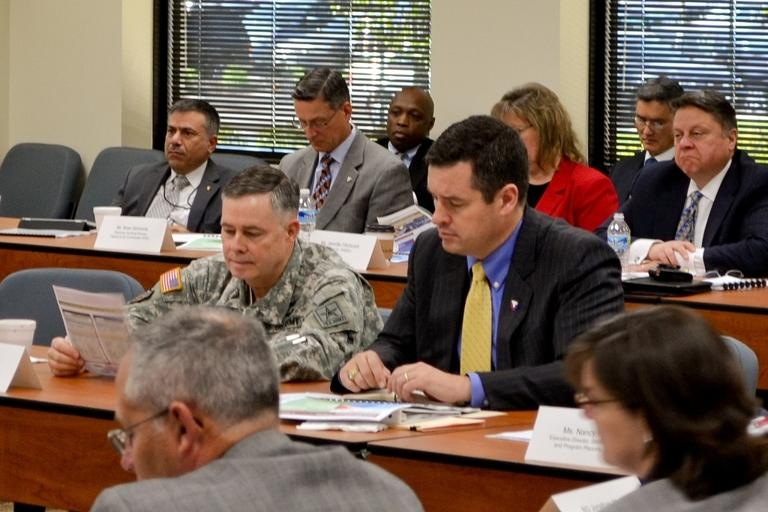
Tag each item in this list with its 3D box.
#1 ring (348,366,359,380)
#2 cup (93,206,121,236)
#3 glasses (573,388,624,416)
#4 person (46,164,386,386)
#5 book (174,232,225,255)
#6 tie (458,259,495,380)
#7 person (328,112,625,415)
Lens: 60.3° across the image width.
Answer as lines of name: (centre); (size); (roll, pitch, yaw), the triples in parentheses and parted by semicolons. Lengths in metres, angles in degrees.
ring: (-0.093, 0.369, 2.061); (0.009, 0.030, 0.033); (19, -12, -35)
cup: (-1.832, -0.247, 4.370); (0.224, 0.180, 0.236); (0, 6, 0)
glasses: (0.349, 0.239, 1.086); (0.053, 0.017, 0.050); (27, -7, -24)
person: (-0.527, 0.088, 2.387); (0.957, 0.650, 0.864); (1, -2, 34)
book: (-1.148, -0.080, 4.088); (0.271, 0.066, 0.283); (0, 5, -14)
tie: (0.317, 0.220, 2.178); (0.105, 0.438, 0.037); (-7, 33, -3)
person: (0.333, 0.041, 2.267); (0.838, 0.904, 1.137); (-2, 2, -35)
